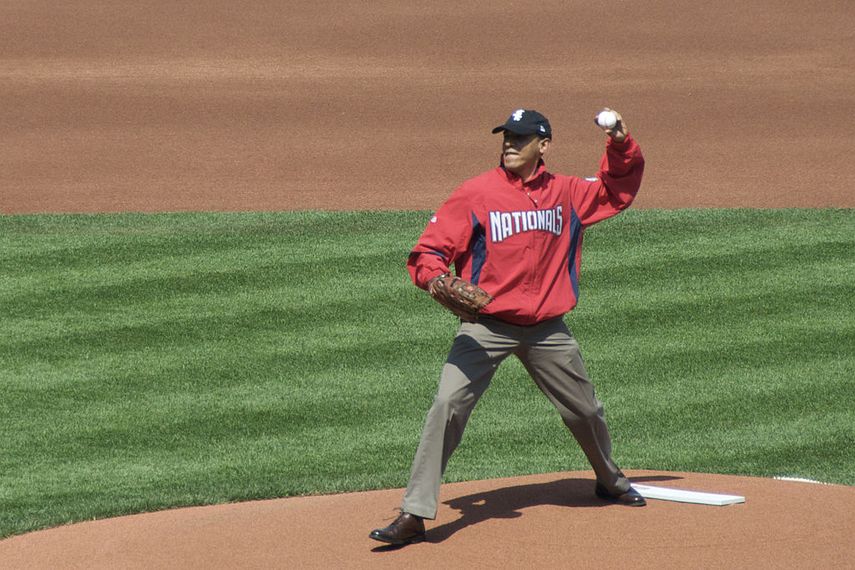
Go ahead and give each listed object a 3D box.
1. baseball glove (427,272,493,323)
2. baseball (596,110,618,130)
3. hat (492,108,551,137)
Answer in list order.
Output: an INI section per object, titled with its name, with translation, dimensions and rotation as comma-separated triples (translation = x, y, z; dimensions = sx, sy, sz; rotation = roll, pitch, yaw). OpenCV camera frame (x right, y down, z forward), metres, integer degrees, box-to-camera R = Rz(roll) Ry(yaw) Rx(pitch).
[baseball glove]
translation = 0.323, 0.136, 15.965
dimensions = 0.675, 0.381, 0.281
rotation = 31, -25, 11
[baseball]
translation = 1.923, -1.748, 16.078
dimensions = 0.214, 0.198, 0.113
rotation = 5, -3, -14
[hat]
translation = 1.051, -1.689, 16.185
dimensions = 0.469, 0.223, 0.316
rotation = 4, -1, -14
